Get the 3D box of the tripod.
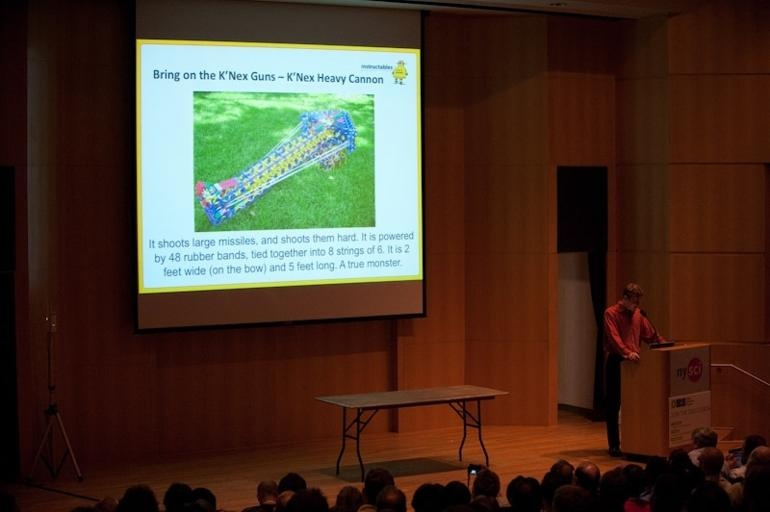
[{"bbox_3d":[-3.723,1.586,8.111,0.537,1.830,0.381,-3,2,-23],"label":"tripod"}]
